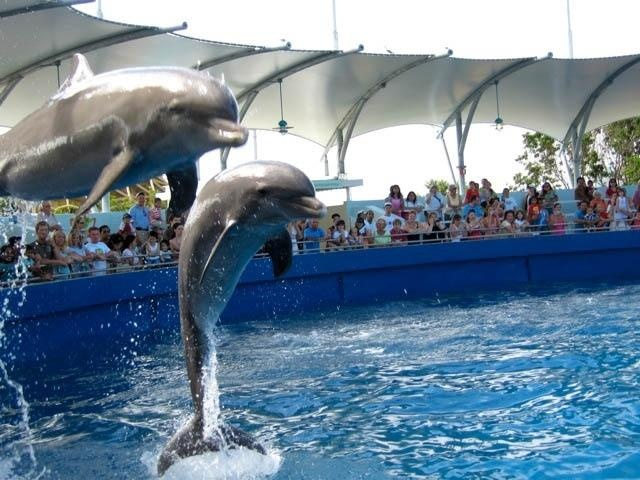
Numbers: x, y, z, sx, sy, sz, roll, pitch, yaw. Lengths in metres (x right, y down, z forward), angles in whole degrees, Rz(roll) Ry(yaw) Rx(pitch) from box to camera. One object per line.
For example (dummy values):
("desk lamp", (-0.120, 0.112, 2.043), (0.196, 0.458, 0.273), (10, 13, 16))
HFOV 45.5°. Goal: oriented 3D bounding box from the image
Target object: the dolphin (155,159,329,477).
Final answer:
("dolphin", (-0.511, 0.437, 5.768), (0.873, 2.724, 1.241), (-6, 14, -29))
